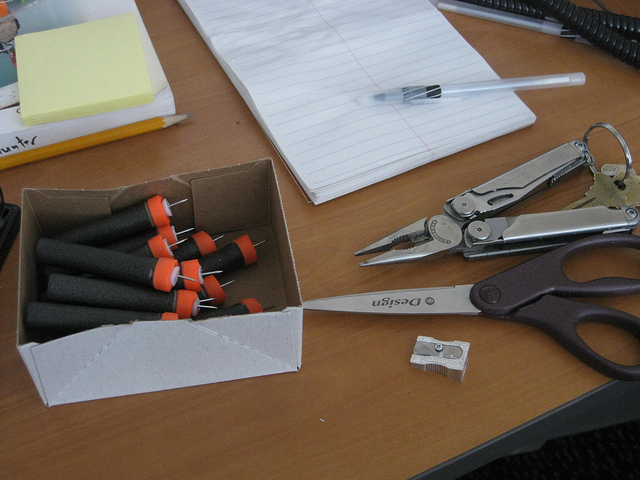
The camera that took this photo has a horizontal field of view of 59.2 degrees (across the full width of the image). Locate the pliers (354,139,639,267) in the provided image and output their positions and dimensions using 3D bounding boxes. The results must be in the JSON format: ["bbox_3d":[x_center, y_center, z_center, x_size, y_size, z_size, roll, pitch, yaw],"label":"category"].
[{"bbox_3d":[0.263,-0.026,0.837,0.418,0.064,0.158,-16,60,-5],"label":"pliers"}]

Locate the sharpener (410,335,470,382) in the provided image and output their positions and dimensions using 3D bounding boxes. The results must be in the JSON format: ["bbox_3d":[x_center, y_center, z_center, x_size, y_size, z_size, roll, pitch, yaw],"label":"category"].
[{"bbox_3d":[0.156,0.152,0.733,0.070,0.016,0.049,12,62,8],"label":"sharpener"}]

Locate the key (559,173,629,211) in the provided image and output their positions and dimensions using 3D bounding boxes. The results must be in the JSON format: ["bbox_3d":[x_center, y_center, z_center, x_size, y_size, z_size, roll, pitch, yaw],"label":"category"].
[{"bbox_3d":[0.406,-0.069,0.829,0.099,0.002,0.045,-19,53,-10],"label":"key"}]
